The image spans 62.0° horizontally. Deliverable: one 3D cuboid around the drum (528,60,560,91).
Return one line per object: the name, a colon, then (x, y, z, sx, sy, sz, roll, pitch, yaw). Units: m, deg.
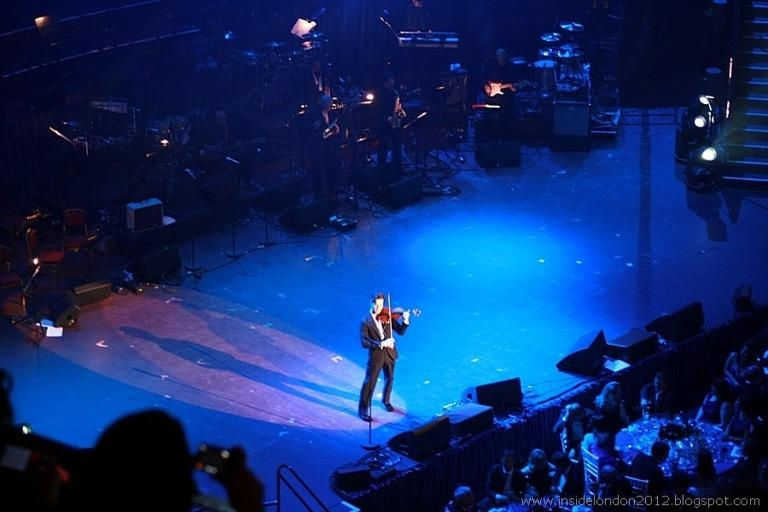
drum: (4.791, -5.511, 19.219, 0.921, 0.935, 0.881, -11, 35, 9)

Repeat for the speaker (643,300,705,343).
speaker: (4.978, 1.134, 11.044, 0.892, 0.544, 0.664, -19, 29, -28)

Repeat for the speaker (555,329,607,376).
speaker: (3.259, 1.570, 10.380, 0.701, 0.567, 0.884, 10, 37, 35)

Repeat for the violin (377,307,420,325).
violin: (0.195, 0.889, 9.536, 0.595, 0.148, 0.282, 1, -2, 1)

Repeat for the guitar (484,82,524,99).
guitar: (3.341, -4.856, 18.475, 0.864, 0.529, 0.556, -2, -6, 3)

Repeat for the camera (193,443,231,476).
camera: (-1.493, 1.763, 5.532, 0.302, 0.264, 0.141, 0, -6, -13)

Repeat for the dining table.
dining table: (4.030, 2.582, 8.772, 1.684, 0.641, 0.848, -2, -6, -2)

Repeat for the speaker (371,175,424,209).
speaker: (0.506, -1.593, 15.688, 1.426, 0.828, 0.822, 5, 9, 34)

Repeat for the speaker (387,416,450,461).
speaker: (0.489, 2.424, 8.807, 0.693, 0.447, 0.847, 16, 18, 33)

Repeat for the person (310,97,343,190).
person: (-1.374, -2.601, 15.271, 0.677, 2.351, 1.597, -2, -6, -2)

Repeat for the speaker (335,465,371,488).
speaker: (-0.409, 2.726, 8.213, 0.476, 0.278, 0.244, -1, 6, -11)

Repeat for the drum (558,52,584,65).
drum: (5.533, -5.947, 19.145, 0.696, 0.282, 0.729, -2, -6, 0)
